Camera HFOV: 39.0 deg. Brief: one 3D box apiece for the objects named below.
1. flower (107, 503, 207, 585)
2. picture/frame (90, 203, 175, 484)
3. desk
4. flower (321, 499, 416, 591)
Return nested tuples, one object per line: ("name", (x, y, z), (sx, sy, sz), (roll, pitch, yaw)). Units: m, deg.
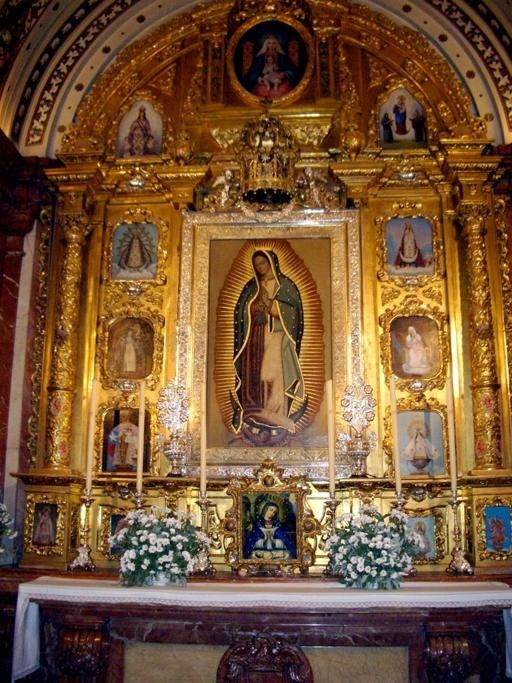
("flower", (-0.501, 1.101, 3.863), (0.512, 0.407, 0.422), (6, -21, -17))
("picture/frame", (-1.106, -0.078, 6.510), (0.694, 2.510, 0.254), (1, -21, -3))
("desk", (-0.002, 1.411, 3.586), (2.381, 0.472, 0.881), (1, -19, -6))
("flower", (0.633, 1.050, 3.850), (0.459, 0.386, 0.442), (4, -7, -32))
